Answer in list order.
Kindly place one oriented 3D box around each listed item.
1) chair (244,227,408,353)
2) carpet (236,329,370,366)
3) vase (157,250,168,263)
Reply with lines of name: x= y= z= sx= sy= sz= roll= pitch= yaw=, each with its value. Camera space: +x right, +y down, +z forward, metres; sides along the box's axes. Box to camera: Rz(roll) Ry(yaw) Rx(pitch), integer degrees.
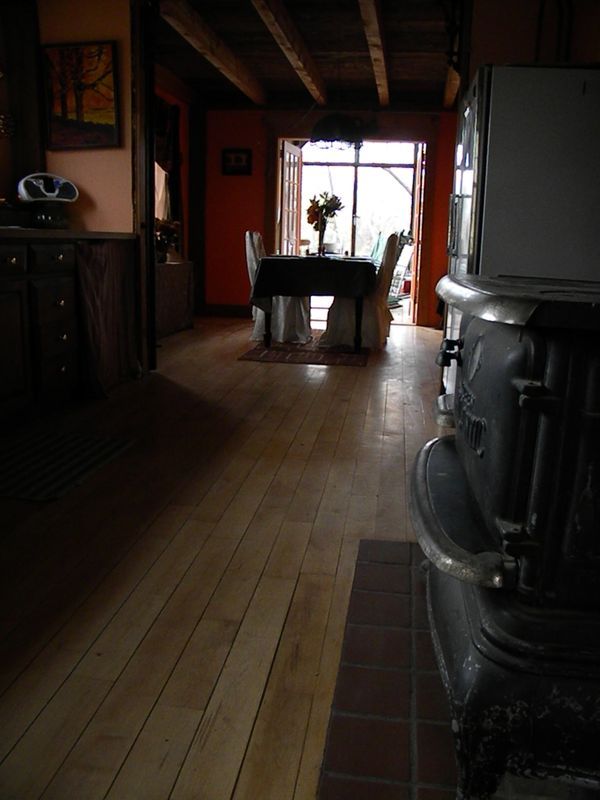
chair: x=0.261 y=-1.100 z=5.707 sx=1.420 sy=1.157 sz=0.825 roll=0 pitch=8 yaw=-1
carpet: x=0.053 y=-0.427 z=5.230 sx=1.151 sy=0.119 sz=0.993 roll=1 pitch=10 yaw=7
vase: x=-1.554 y=-1.626 z=6.287 sx=0.092 sy=0.139 sz=0.419 roll=-1 pitch=10 yaw=-3
